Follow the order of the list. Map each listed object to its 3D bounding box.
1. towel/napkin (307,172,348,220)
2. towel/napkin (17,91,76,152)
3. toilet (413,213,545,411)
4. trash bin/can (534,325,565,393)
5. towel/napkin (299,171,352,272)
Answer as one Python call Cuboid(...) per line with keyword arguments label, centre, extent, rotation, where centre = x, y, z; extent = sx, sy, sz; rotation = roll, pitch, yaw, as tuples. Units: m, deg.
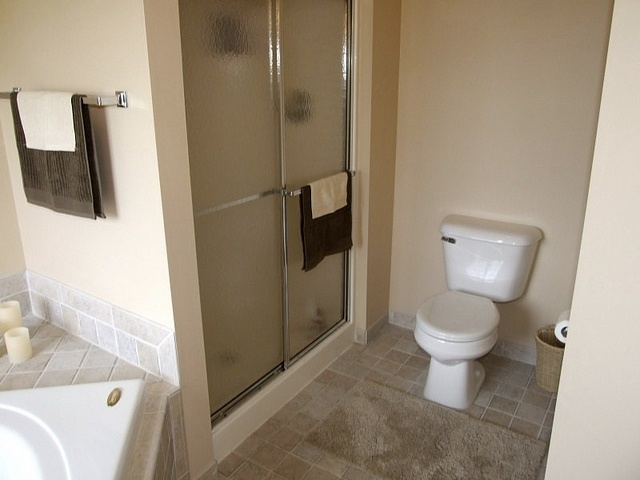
Cuboid(label="towel/napkin", centre=(0.081, -0.236, 2.584), extent=(0.060, 0.237, 0.377), rotation=(-1, -10, -36))
Cuboid(label="towel/napkin", centre=(-1.046, -0.441, 1.887), extent=(0.297, 0.268, 0.038), rotation=(6, 9, 11))
Cuboid(label="toilet", centre=(0.805, 0.414, 2.757), extent=(0.501, 0.913, 0.789), rotation=(14, 25, 36))
Cuboid(label="trash bin/can", centre=(1.271, 0.665, 2.752), extent=(0.152, 0.329, 0.260), rotation=(10, 26, 24))
Cuboid(label="towel/napkin", centre=(0.022, -0.121, 2.608), extent=(0.078, 0.423, 0.409), rotation=(13, 27, 36))
